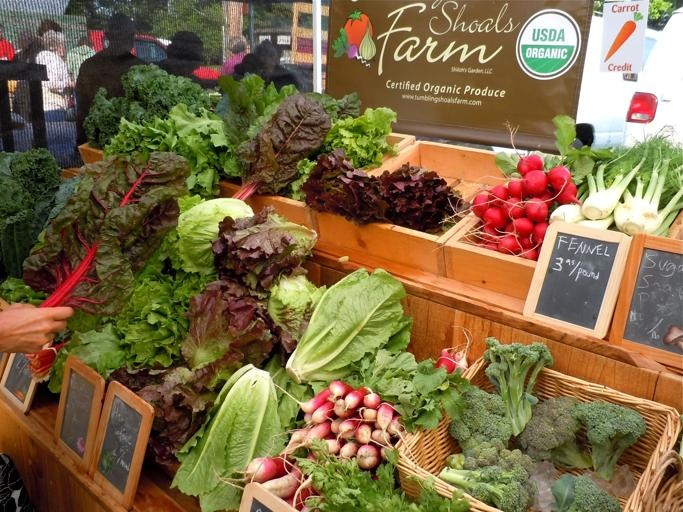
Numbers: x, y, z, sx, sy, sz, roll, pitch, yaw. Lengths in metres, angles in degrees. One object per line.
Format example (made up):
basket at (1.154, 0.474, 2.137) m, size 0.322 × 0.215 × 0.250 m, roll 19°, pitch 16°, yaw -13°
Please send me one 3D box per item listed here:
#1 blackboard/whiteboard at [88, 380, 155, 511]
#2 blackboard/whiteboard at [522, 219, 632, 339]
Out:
blackboard/whiteboard at (-1.230, 1.035, 2.515) m, size 0.418 × 0.612 × 0.169 m, roll 16°, pitch 15°, yaw 40°
blackboard/whiteboard at (1.241, 0.130, 2.378) m, size 0.471 × 0.602 × 0.137 m, roll 16°, pitch 4°, yaw 31°
